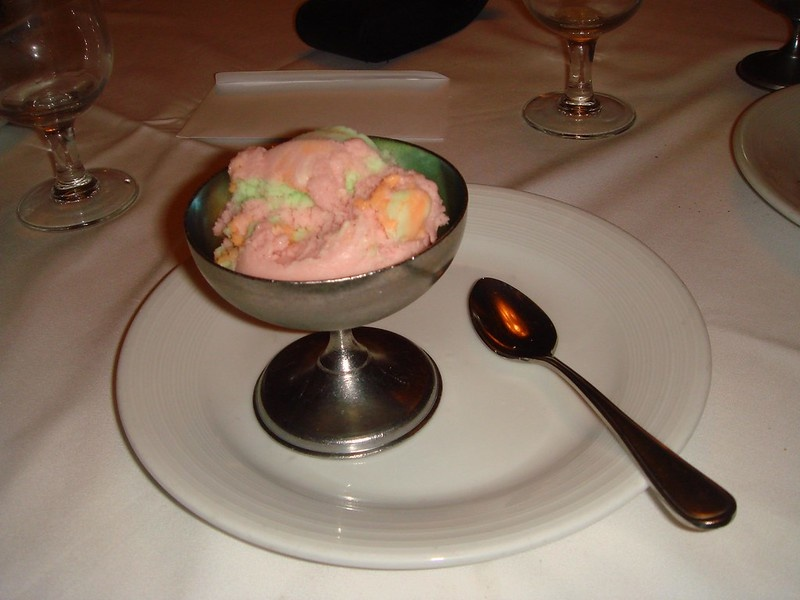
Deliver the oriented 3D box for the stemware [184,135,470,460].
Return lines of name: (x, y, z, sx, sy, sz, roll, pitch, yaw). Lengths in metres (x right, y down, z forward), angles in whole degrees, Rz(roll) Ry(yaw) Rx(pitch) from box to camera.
stemware: (-0.070, 0.002, 0.742, 0.340, 0.248, 0.309, -6, 34, -4)

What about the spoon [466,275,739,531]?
spoon: (0.185, 0.077, 0.729, 0.100, 0.054, 0.474, -23, 33, 1)

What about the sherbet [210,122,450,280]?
sherbet: (-0.066, -0.095, 0.708, 0.218, 0.069, 0.169, 3, 55, 0)
